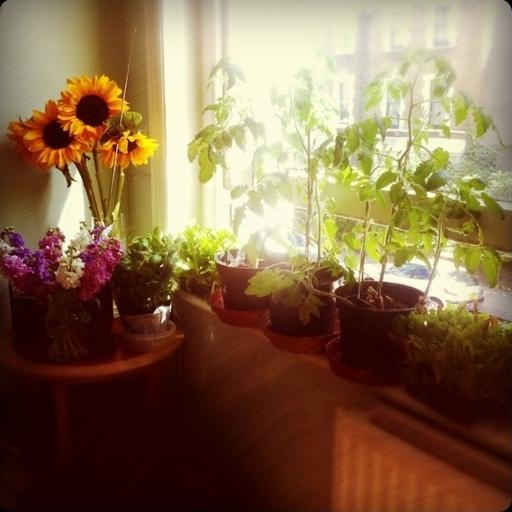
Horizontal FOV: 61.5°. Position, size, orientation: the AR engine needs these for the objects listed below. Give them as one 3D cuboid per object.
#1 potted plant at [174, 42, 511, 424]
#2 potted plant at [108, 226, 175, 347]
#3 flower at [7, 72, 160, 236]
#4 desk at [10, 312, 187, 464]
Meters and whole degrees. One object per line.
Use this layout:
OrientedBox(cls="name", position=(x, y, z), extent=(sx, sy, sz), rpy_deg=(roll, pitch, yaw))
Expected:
OrientedBox(cls="potted plant", position=(0.191, -0.155, 1.070), extent=(0.461, 0.478, 0.961), rpy_deg=(-14, 30, -34))
OrientedBox(cls="potted plant", position=(-0.325, 0.124, 1.249), extent=(0.163, 0.299, 0.157), rpy_deg=(7, 5, -16))
OrientedBox(cls="flower", position=(-0.553, -0.332, 1.382), extent=(0.461, 0.446, 0.492), rpy_deg=(-2, 13, -13))
OrientedBox(cls="desk", position=(-0.499, 0.462, 1.354), extent=(0.543, 0.450, 0.354), rpy_deg=(-1, 12, -12))
